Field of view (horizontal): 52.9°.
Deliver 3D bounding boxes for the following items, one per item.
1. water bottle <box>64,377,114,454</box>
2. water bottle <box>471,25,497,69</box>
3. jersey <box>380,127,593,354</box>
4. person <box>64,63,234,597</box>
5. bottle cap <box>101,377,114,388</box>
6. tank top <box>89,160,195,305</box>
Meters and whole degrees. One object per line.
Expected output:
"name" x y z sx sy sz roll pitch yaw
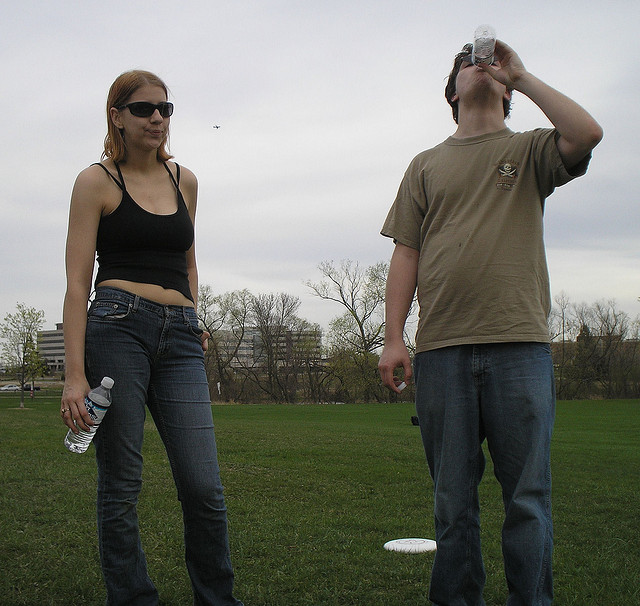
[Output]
"water bottle" -1.025 0.491 2.813 0.214 0.327 0.191 -4 -4 38
"water bottle" 0.754 -1.179 2.954 0.099 0.180 0.105 -2 39 2
"jersey" 0.707 -0.277 2.859 0.737 0.959 0.515 -2 -22 11
"person" -0.818 0.092 3.006 0.712 2.479 0.446 0 -3 -26
"bottle cap" -0.924 0.346 2.795 0.039 0.031 0.041 13 15 -27
"tank top" -0.854 -0.368 3.171 0.386 0.765 0.456 -14 -15 41
